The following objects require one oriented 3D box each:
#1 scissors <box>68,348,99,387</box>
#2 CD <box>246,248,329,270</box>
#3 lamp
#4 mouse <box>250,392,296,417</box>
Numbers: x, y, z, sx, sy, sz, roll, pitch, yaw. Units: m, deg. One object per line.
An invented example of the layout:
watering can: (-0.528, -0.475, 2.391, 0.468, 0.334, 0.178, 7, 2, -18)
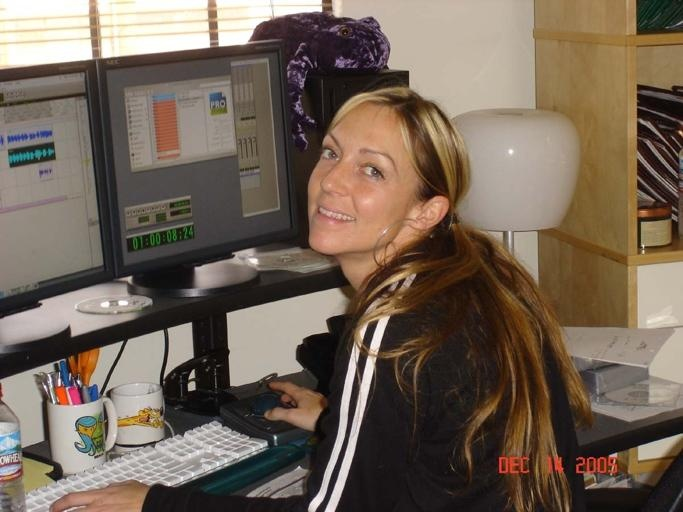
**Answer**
scissors: (-0.550, 0.262, 1.341, 0.015, 0.106, 0.030, -15, 9, -11)
CD: (-0.132, 0.009, 1.509, 0.113, 0.012, 0.084, -13, 21, -35)
lamp: (0.444, -0.215, 1.788, 0.400, 0.631, 0.430, -2, 10, -6)
mouse: (-0.166, 0.333, 1.376, 0.062, 0.016, 0.045, 2, 12, 13)
